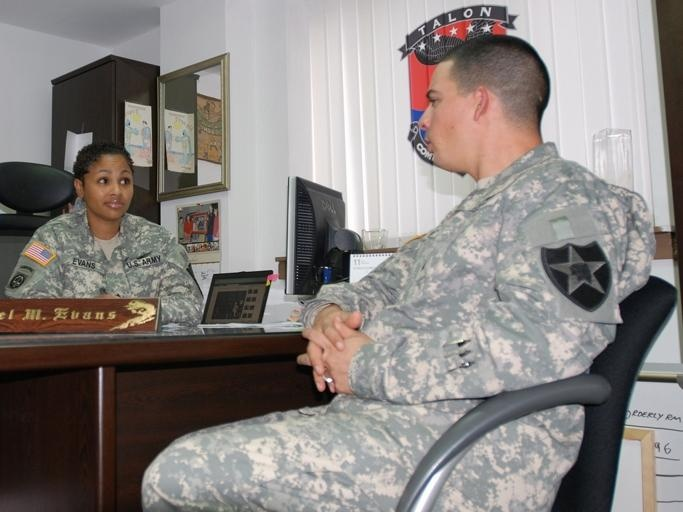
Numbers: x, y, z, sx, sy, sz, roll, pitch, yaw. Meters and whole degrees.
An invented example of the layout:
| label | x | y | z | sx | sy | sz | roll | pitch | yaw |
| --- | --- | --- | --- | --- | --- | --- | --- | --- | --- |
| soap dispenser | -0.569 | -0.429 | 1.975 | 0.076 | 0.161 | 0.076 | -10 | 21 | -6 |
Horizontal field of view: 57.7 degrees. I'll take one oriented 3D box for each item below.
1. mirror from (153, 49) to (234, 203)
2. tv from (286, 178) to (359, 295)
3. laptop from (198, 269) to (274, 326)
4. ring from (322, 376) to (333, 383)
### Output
| label | x | y | z | sx | sy | sz | roll | pitch | yaw |
| --- | --- | --- | --- | --- | --- | --- | --- | --- | --- |
| mirror | -0.910 | -0.807 | 3.888 | 0.909 | 1.198 | 0.078 | -1 | -2 | 39 |
| tv | -0.034 | -0.059 | 2.412 | 0.177 | 0.434 | 0.462 | 0 | -2 | 24 |
| laptop | -0.412 | 0.147 | 2.055 | 0.330 | 0.203 | 0.269 | -7 | -9 | 43 |
| ring | -0.032 | 0.291 | 1.449 | 0.005 | 0.019 | 0.017 | -11 | 6 | -40 |
